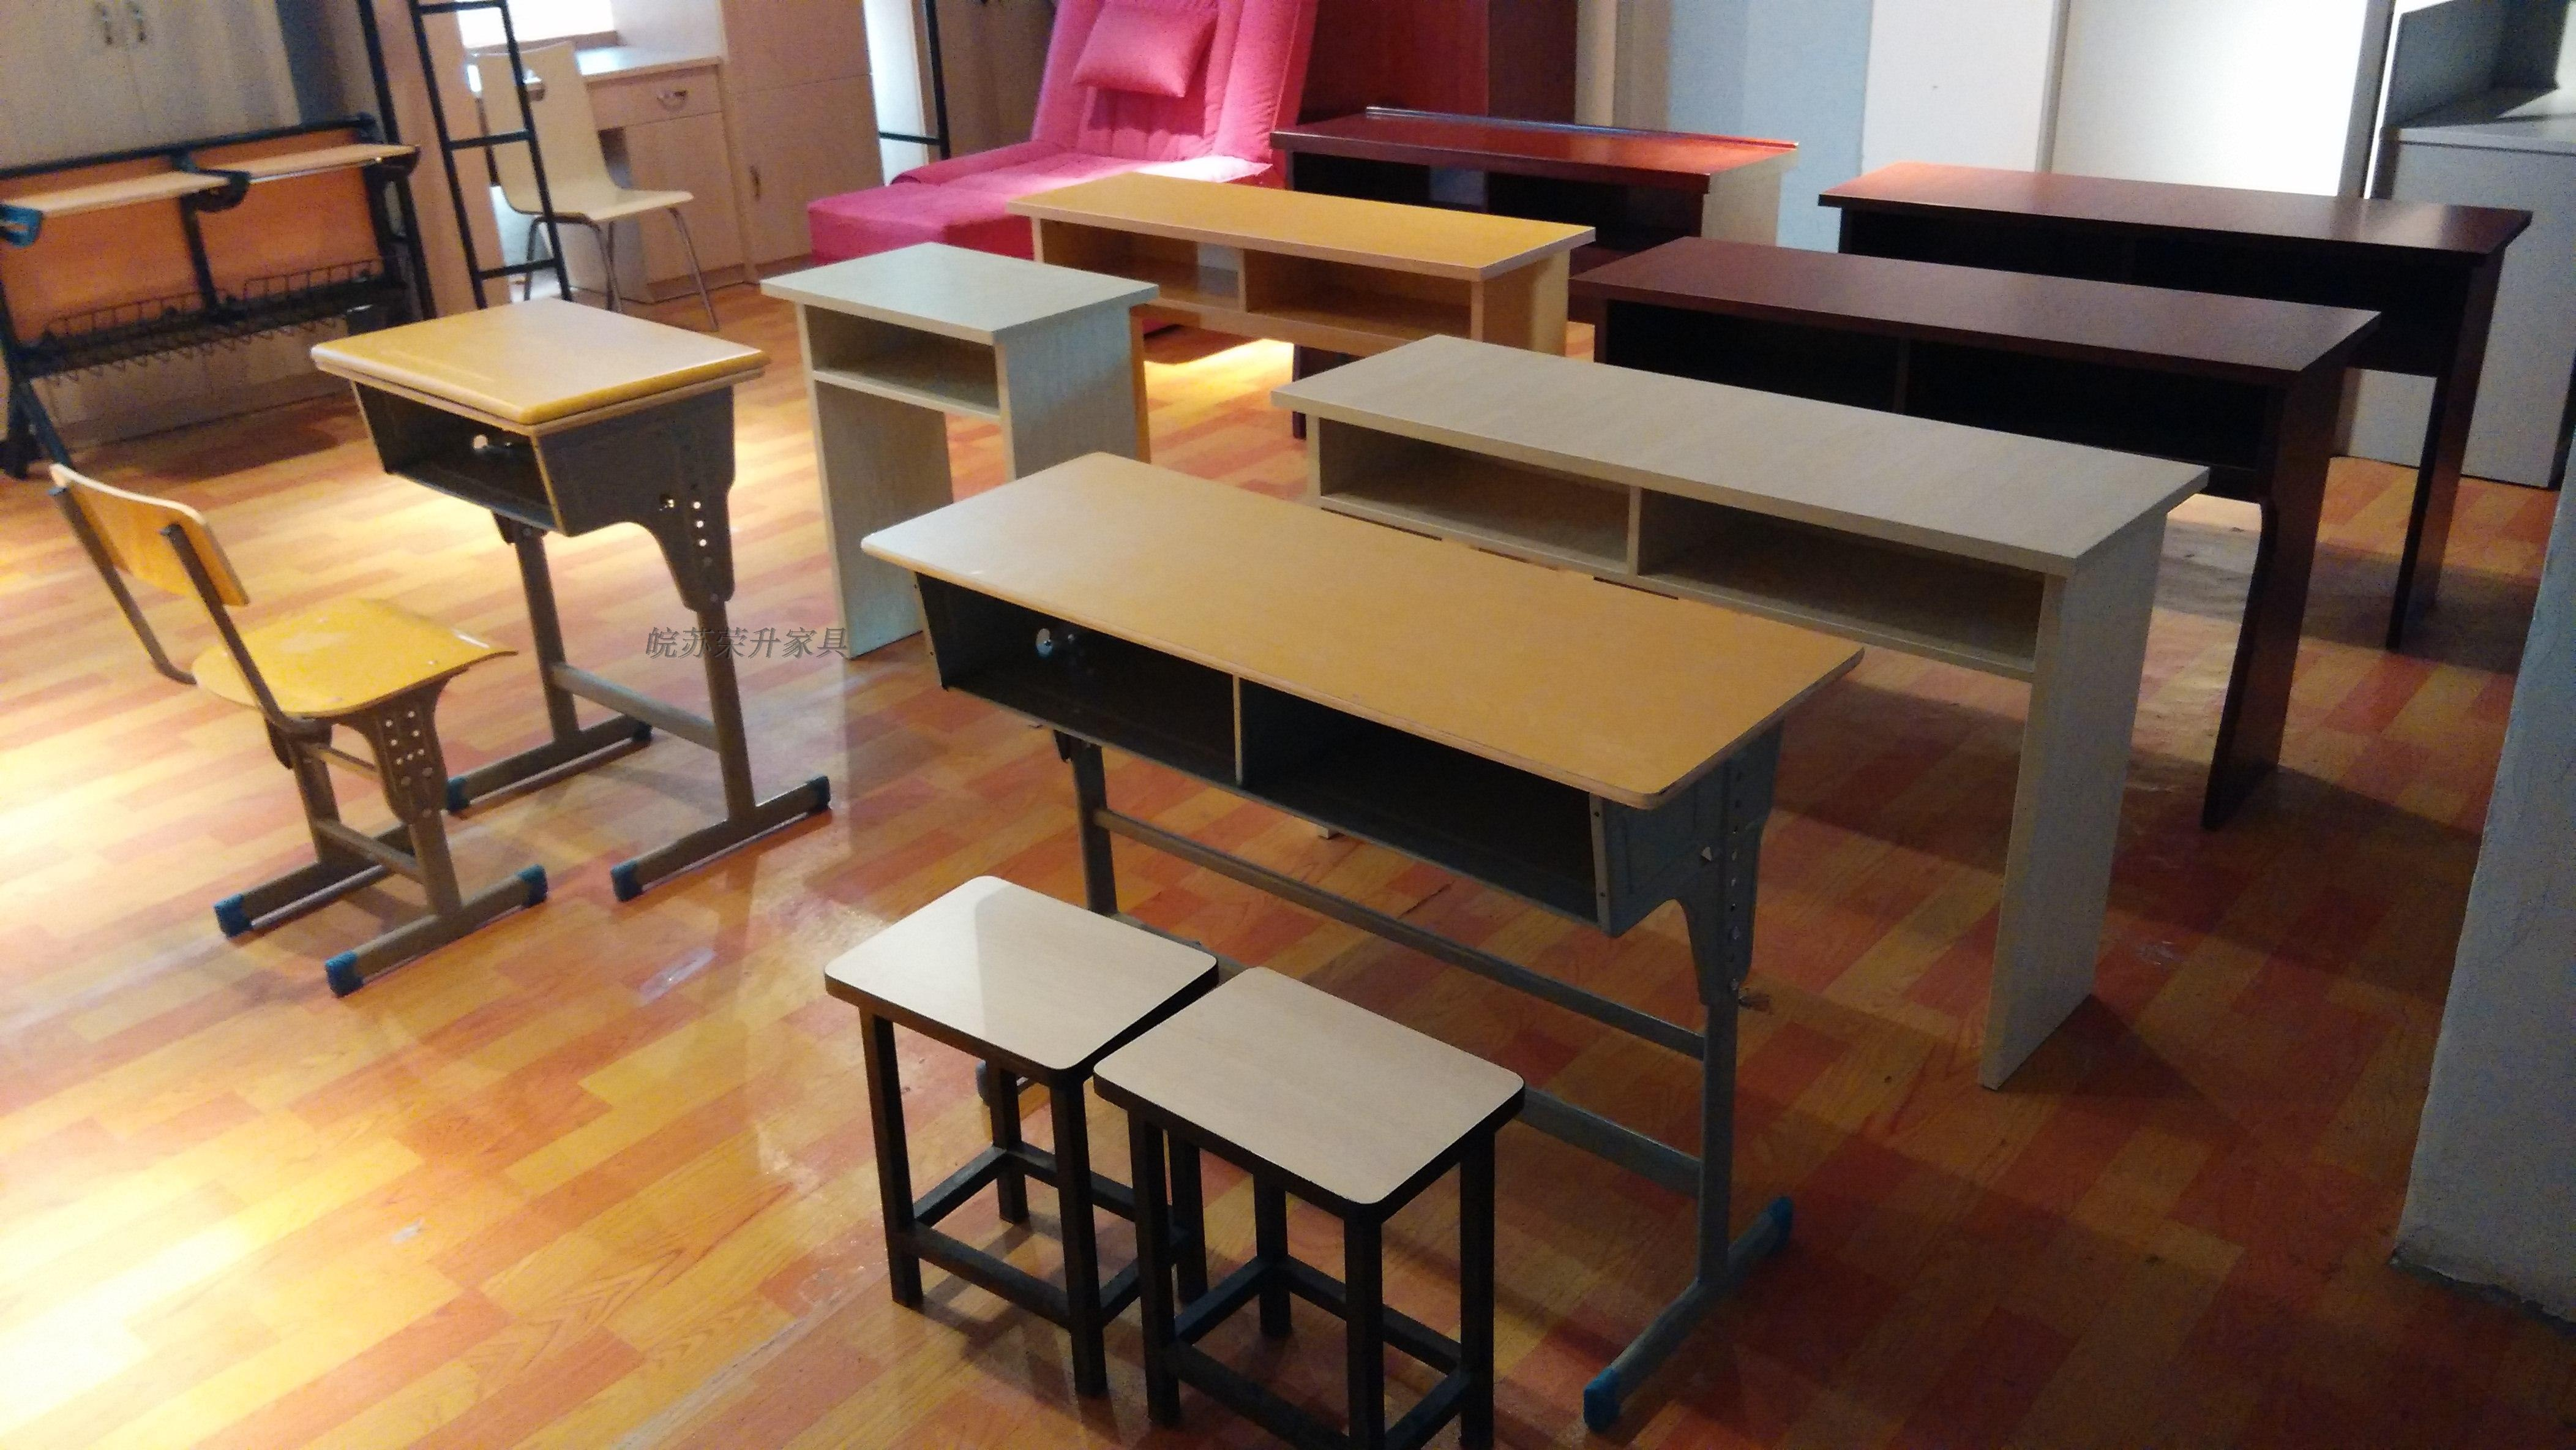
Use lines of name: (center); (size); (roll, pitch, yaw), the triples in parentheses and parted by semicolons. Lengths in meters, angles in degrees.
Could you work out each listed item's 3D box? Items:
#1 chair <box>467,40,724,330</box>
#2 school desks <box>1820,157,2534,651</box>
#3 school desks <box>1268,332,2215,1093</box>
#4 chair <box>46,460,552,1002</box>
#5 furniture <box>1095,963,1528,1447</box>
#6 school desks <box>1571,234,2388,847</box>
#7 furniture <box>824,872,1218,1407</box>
chair: (-3.252, -2.491, 7.717); (0.717, 1.192, 0.786); (-26, 39, -34)
school desks: (2.507, -0.916, 4.699); (1.688, 0.973, 0.643); (17, 39, 33)
school desks: (1.054, 0.003, 3.900); (1.838, 1.037, 0.649); (21, 40, 33)
chair: (-2.514, -0.062, 4.307); (0.775, 1.258, 0.813); (-28, 40, -36)
furniture: (0.027, 0.991, 3.321); (0.720, 0.727, 0.535); (23, 43, 32)
school desks: (1.748, -0.461, 4.254); (1.708, 0.999, 0.658); (20, 41, 34)
furniture: (-0.559, 0.912, 3.487); (0.738, 0.859, 0.600); (18, 37, 24)
